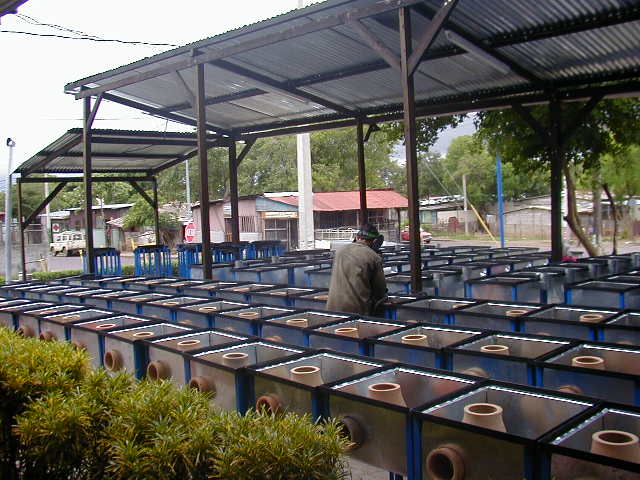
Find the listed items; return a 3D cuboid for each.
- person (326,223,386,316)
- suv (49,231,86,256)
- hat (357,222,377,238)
[{"bbox_3d":[0.385,0.337,6.172,0.652,0.825,0.632,-2,1,1],"label":"person"},{"bbox_3d":[-18.298,0.287,41.521,1.591,1.436,2.732,-3,9,-41],"label":"suv"},{"bbox_3d":[0.532,-0.114,6.426,0.191,0.148,0.138,-11,13,-28],"label":"hat"}]
